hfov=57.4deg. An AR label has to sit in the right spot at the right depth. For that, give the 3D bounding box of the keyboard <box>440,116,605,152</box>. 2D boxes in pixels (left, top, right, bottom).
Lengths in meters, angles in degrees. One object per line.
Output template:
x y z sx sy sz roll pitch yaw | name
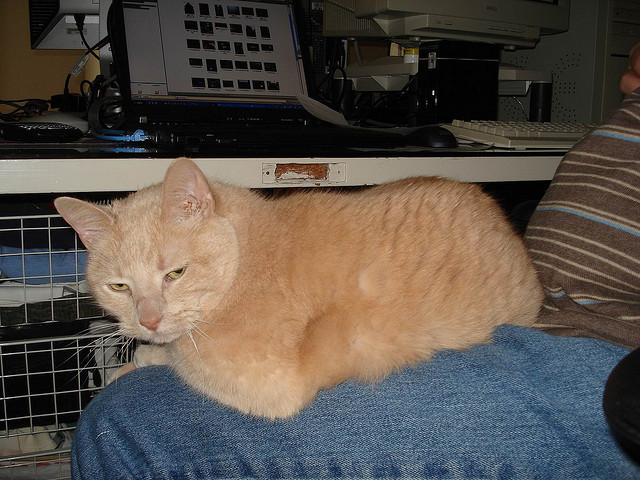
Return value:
0.551 -0.295 1.640 0.270 0.043 0.131 -10 38 -25 | keyboard

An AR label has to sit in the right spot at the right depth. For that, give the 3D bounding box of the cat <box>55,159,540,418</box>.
-0.023 0.094 1.182 0.810 0.325 0.506 -4 9 1 | cat
